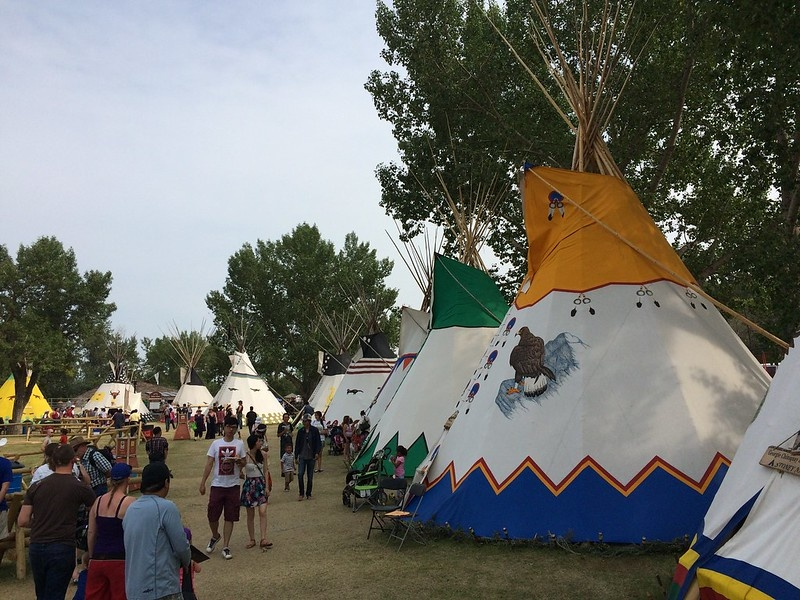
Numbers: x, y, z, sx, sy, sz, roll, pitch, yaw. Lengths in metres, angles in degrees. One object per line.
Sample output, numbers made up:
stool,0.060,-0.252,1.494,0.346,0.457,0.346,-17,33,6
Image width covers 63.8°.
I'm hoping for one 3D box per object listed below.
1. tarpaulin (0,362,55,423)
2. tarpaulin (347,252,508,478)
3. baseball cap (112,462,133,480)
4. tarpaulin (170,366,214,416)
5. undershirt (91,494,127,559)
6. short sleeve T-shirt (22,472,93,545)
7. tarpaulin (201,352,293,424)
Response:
tarpaulin,-21.798,5.807,38.593,3.266,3.950,3.482,-6,-7,42
tarpaulin,1.142,1.622,17.108,5.081,6.195,4.498,5,-3,7
baseball cap,-3.261,2.057,7.561,0.147,0.137,0.218,6,19,13
tarpaulin,-13.488,5.549,42.244,2.605,3.131,2.908,-6,-3,-1
undershirt,-3.265,2.581,7.301,0.370,0.600,0.328,2,-11,-12
short sleeve T-shirt,-4.329,2.653,8.169,0.812,0.888,0.421,6,-7,-26
tarpaulin,-8.769,5.262,38.499,4.048,4.905,4.358,4,-12,-29
